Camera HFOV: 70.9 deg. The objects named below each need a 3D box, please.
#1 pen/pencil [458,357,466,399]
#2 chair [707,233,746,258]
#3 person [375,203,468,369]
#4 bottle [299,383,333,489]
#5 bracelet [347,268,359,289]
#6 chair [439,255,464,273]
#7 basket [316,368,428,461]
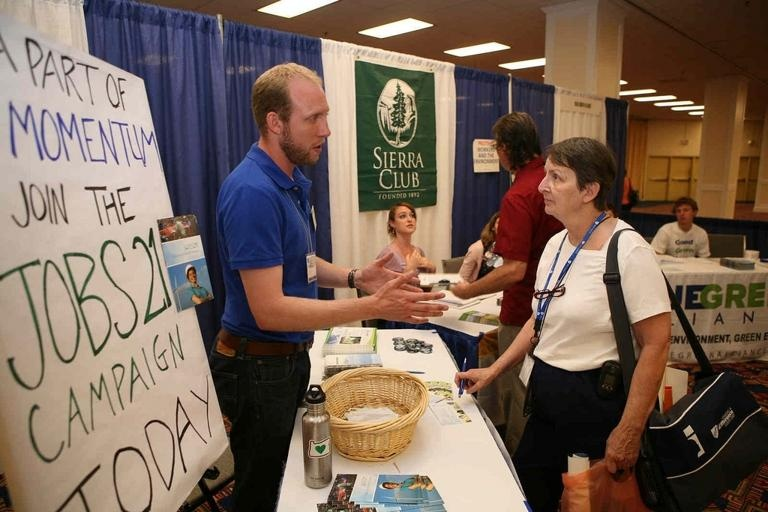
[{"bbox_3d":[0.383,0.590,2.610,0.016,0.146,0.017,13,-19,-18],"label":"pen/pencil"},{"bbox_3d":[3.654,-0.168,5.768,0.267,0.398,0.287,10,14,40],"label":"chair"},{"bbox_3d":[0.291,0.340,4.270,0.501,1.544,0.483,-8,-6,-35],"label":"person"},{"bbox_3d":[-0.239,0.643,1.908,0.102,0.356,0.097,-2,13,0],"label":"bottle"},{"bbox_3d":[-0.150,0.111,2.610,0.037,0.077,0.065,2,-2,-4],"label":"bracelet"},{"bbox_3d":[0.636,0.059,4.961,0.155,0.193,0.161,-4,8,-40],"label":"chair"},{"bbox_3d":[-0.059,0.606,2.145,0.348,0.142,0.317,-16,19,-37],"label":"basket"}]
